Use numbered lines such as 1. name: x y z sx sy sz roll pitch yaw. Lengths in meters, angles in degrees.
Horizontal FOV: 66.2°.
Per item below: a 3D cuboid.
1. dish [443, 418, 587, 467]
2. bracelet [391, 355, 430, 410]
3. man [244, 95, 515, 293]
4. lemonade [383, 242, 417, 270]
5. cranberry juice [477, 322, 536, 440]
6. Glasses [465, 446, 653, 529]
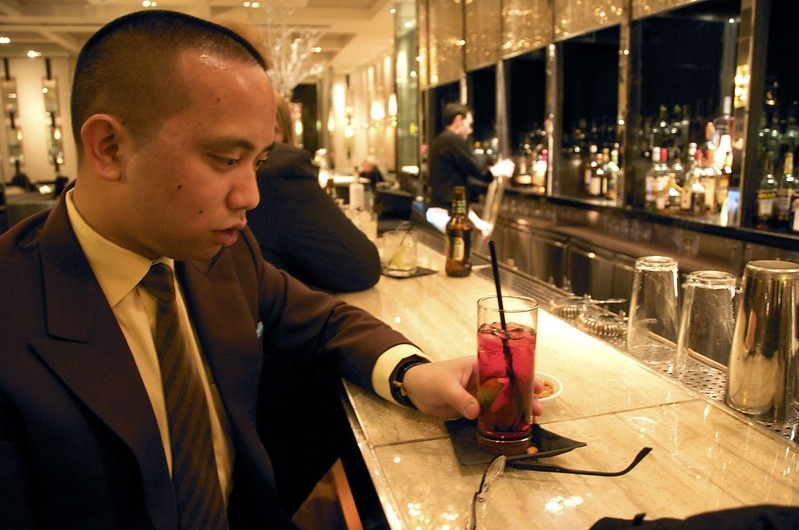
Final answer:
1. dish: 0.303 0.416 1.377 0.177 0.038 0.210 -25 -32 29
2. bracelet: 0.020 0.298 1.548 0.099 0.122 0.070 0 -11 -27
3. man: -0.139 -0.256 2.375 0.588 0.961 0.652 -18 23 -34
4. lemonade: 0.003 -0.038 2.542 0.119 0.120 0.118 1 2 -1
5. cranberry juice: 0.235 0.256 1.348 0.125 0.263 0.074 0 15 13
6. Glasses: 0.290 0.443 1.270 0.201 0.055 0.193 -4 11 19
